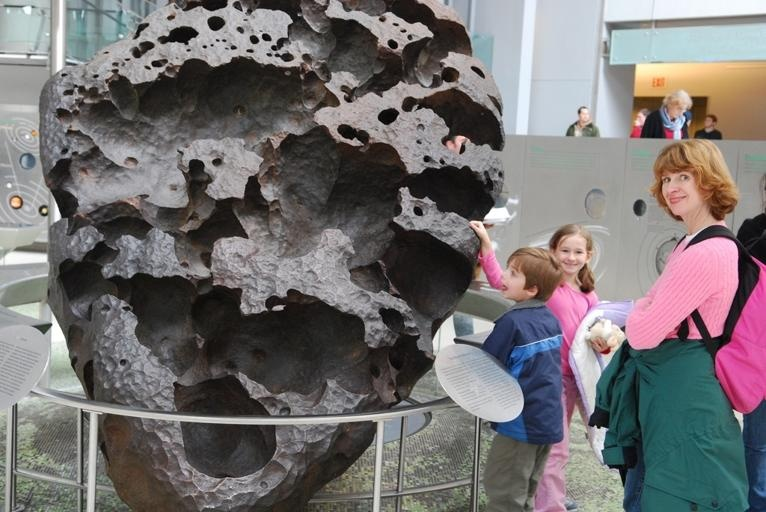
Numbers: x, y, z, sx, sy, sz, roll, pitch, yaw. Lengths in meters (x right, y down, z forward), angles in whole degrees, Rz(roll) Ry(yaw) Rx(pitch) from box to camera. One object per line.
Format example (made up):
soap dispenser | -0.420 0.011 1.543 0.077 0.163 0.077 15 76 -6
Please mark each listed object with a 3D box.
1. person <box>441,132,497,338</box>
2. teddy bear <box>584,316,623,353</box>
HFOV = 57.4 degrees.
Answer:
person | 0.649 -0.146 5.823 0.356 1.627 0.435 7 1 -9
teddy bear | 1.220 0.433 3.830 0.146 0.198 0.096 -6 -22 -5
